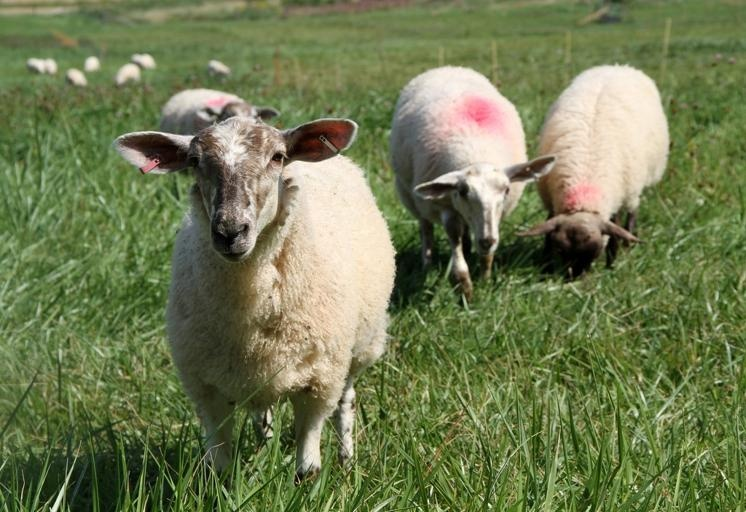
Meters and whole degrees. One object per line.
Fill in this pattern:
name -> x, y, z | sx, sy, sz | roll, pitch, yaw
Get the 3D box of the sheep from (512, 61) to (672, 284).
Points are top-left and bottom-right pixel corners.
sheep -> 2.428, -0.846, 10.719 | 1.186, 1.510, 2.710 | 9, 66, 18
